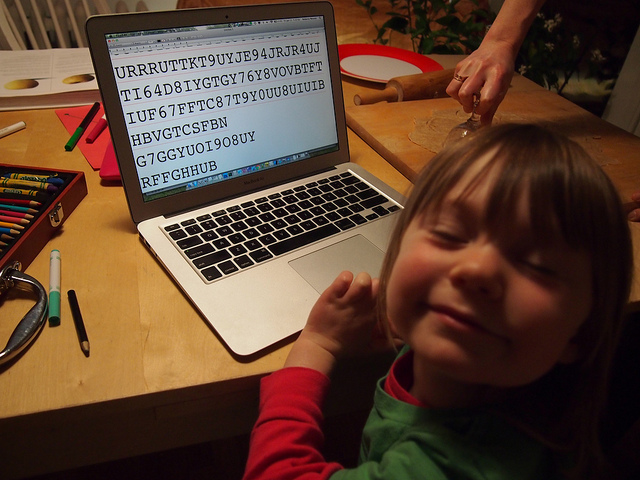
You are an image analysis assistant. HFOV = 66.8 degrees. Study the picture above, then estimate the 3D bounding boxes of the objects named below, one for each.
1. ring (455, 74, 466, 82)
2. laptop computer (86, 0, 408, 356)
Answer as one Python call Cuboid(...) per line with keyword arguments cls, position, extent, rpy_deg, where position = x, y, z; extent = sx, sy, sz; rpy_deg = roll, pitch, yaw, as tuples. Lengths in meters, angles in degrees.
Cuboid(cls="ring", position=(0.304, -0.350, 1.053), extent=(0.015, 0.004, 0.014), rpy_deg=(29, 19, -11))
Cuboid(cls="laptop computer", position=(-0.151, -0.070, 1.070), extent=(0.664, 0.471, 0.590), rpy_deg=(-21, 54, -32))
